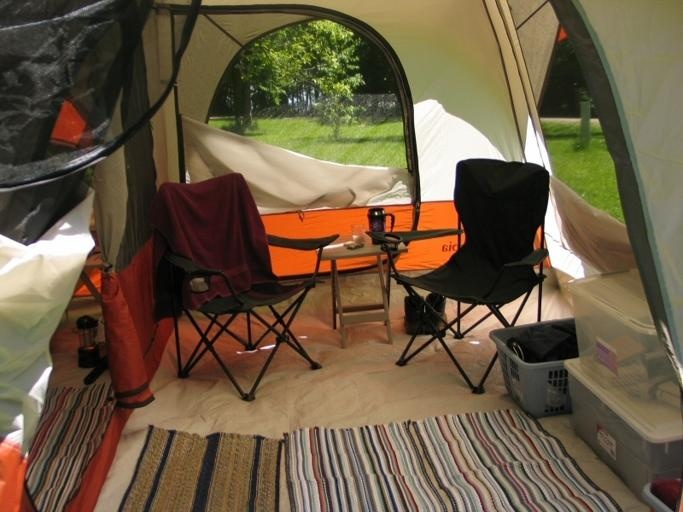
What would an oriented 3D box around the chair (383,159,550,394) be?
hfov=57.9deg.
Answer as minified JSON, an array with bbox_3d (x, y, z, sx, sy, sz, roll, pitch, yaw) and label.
[{"bbox_3d":[0.673,0.079,3.202,0.691,1.138,0.786,-2,14,-13],"label":"chair"}]

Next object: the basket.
[{"bbox_3d":[0.886,0.501,2.897,0.301,0.272,0.447,-6,8,-7],"label":"basket"}]

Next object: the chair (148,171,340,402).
[{"bbox_3d":[-0.520,0.134,3.221,0.635,1.081,0.993,5,13,37],"label":"chair"}]

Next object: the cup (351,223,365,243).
[{"bbox_3d":[0.098,-0.138,3.823,0.105,0.153,0.089,1,16,0],"label":"cup"}]

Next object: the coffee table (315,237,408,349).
[{"bbox_3d":[0.070,0.170,3.830,0.573,0.821,0.565,-9,10,-8],"label":"coffee table"}]

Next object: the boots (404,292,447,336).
[{"bbox_3d":[0.476,0.339,3.519,0.194,0.215,0.118,4,21,12],"label":"boots"}]
